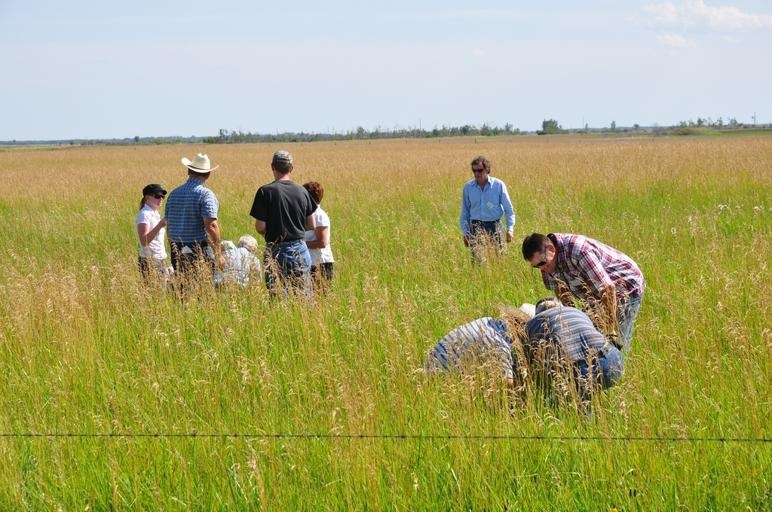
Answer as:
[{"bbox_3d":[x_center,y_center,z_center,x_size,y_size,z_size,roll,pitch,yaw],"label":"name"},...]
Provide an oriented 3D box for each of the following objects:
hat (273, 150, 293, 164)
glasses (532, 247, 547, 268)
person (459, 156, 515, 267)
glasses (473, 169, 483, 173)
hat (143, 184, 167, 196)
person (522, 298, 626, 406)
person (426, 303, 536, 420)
[{"bbox_3d":[-1.470,-1.374,11.535,0.204,0.174,0.221,0,5,11],"label":"hat"},{"bbox_3d":[1.786,0.025,9.641,0.053,0.199,0.175,14,-23,-32],"label":"glasses"},{"bbox_3d":[1.674,-0.472,13.670,0.871,2.399,0.624,2,22,16],"label":"person"},{"bbox_3d":[1.454,-1.372,13.338,0.081,0.071,0.207,-8,2,-35],"label":"glasses"},{"bbox_3d":[-3.463,-0.961,12.164,0.300,0.125,0.221,2,3,28],"label":"hat"},{"bbox_3d":[1.979,1.120,8.760,0.727,0.402,1.161,-6,23,-4],"label":"person"},{"bbox_3d":[1.039,1.016,8.916,0.930,0.440,1.243,21,29,29],"label":"person"}]
